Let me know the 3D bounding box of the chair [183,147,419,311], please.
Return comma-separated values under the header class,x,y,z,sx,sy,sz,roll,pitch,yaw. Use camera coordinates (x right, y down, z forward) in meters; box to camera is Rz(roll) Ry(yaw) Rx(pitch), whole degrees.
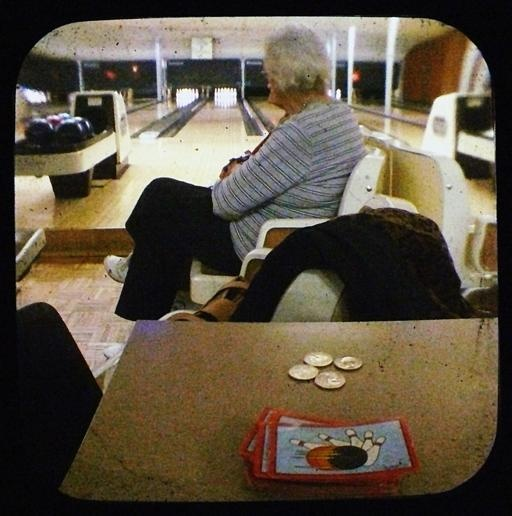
class,x,y,z,sx,sy,sz,roll,pitch,yaw
chair,0.054,-0.052,0.956,0.347,0.322,0.251,2,13,8
